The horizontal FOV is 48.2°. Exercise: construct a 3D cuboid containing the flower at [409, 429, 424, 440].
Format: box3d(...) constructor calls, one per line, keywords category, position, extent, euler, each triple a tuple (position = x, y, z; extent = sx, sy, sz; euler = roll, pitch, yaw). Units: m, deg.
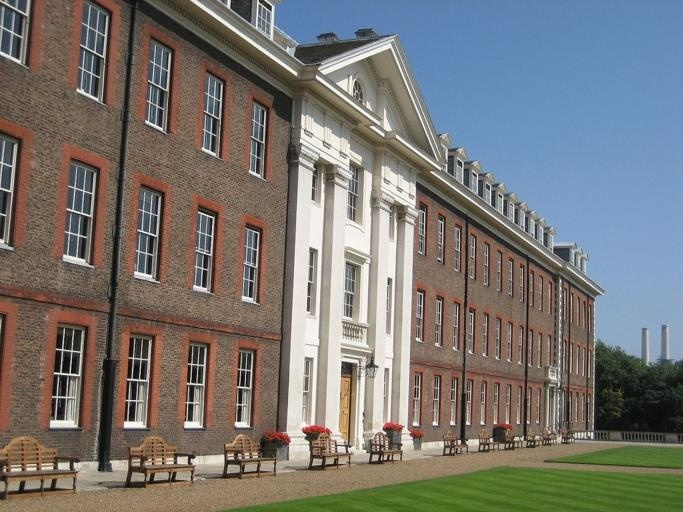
box3d(category="flower", position=(3.602, 8.827, 37.731), extent=(0.618, 0.580, 0.653), euler=(-3, -13, 26))
